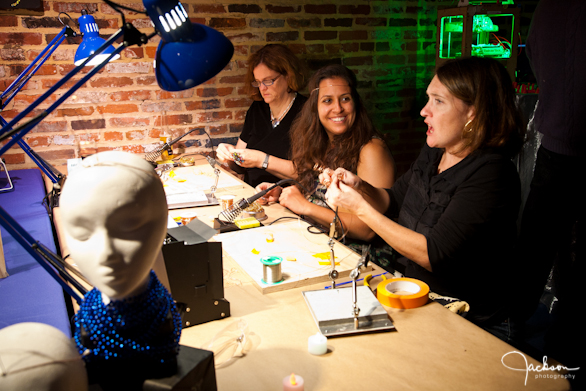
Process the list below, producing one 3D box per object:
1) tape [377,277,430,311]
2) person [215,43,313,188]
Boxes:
[{"bbox_3d":[0.376,0.331,1.454,0.177,0.036,0.162,1,15,14],"label":"tape"},{"bbox_3d":[-0.236,-0.485,3.269,0.779,1.232,0.732,-14,25,-35],"label":"person"}]
